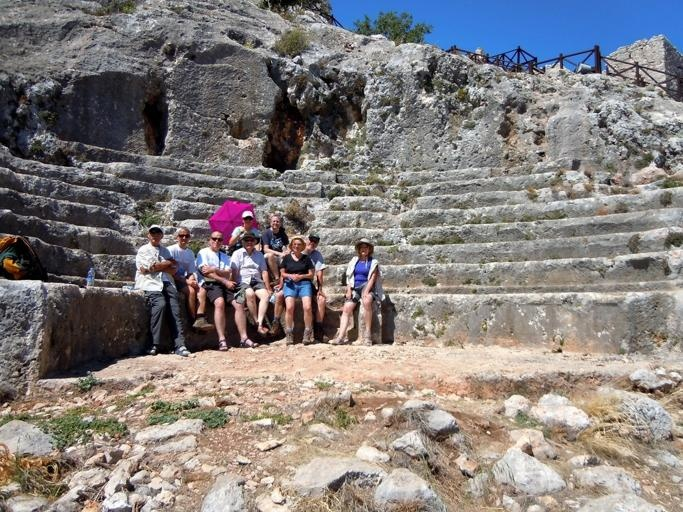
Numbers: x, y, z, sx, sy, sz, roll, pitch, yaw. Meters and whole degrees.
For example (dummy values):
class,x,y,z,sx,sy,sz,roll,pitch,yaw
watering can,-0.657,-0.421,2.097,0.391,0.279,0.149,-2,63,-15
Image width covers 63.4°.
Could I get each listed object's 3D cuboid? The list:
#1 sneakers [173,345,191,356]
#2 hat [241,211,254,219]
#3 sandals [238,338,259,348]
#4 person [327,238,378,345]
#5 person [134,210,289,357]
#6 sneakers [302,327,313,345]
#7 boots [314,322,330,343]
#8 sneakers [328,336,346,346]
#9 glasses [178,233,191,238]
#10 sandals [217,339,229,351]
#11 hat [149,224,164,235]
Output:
class,x,y,z,sx,sy,sz,roll,pitch,yaw
sneakers,-2.250,1.353,7.846,0.274,0.120,0.095,-8,-7,37
hat,-1.592,-0.697,9.447,0.238,0.144,0.375,0,1,-10
sandals,-1.419,1.350,8.533,0.310,0.130,0.111,-4,-5,19
person,0.278,0.570,9.108,0.701,1.642,0.950,2,6,35
person,-2.134,0.469,8.496,1.477,1.903,0.897,-3,5,-23
sneakers,-0.530,1.267,8.870,0.170,0.233,0.396,-1,5,2
boots,-0.324,1.241,9.159,0.244,0.307,0.307,-2,5,-3
sneakers,-0.073,1.347,8.750,0.272,0.116,0.346,-1,5,3
glasses,-2.417,-0.300,8.572,0.103,0.081,0.192,3,6,40
sandals,-1.797,1.355,8.404,0.127,0.156,0.363,0,-8,-15
hat,-2.784,-0.406,8.345,0.139,0.108,0.203,1,-15,-18
